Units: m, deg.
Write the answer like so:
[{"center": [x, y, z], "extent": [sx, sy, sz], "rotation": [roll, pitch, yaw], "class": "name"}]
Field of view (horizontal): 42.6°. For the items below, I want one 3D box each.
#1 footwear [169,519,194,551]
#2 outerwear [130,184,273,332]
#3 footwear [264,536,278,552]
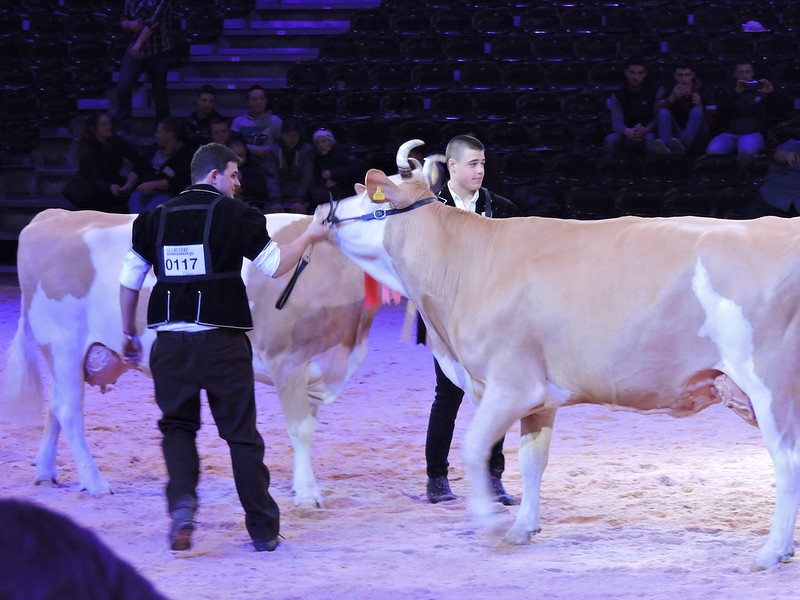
[{"center": [-1.208, 1.306, 5.715], "extent": [0.133, 0.173, 0.047], "rotation": [7, 6, 6], "class": "footwear"}, {"center": [-1.079, -0.209, 5.833], "extent": [1.131, 0.779, 0.502], "rotation": [0, 1, 26], "class": "outerwear"}, {"center": [-0.718, 1.369, 5.705], "extent": [0.082, 0.079, 0.034], "rotation": [-10, 57, -14], "class": "footwear"}]
